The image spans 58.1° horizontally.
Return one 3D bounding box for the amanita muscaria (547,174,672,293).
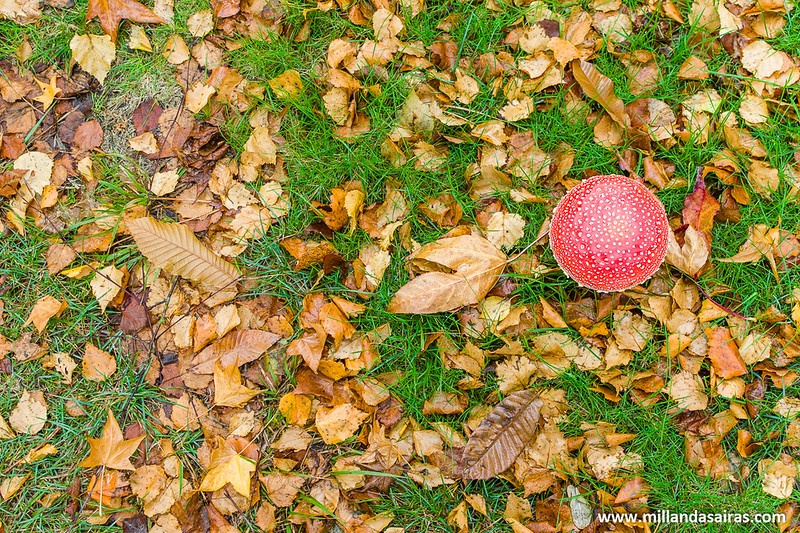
[{"bbox_3d":[1.099,-0.177,3.759,0.597,0.234,0.599,-8,84,1],"label":"amanita muscaria"}]
